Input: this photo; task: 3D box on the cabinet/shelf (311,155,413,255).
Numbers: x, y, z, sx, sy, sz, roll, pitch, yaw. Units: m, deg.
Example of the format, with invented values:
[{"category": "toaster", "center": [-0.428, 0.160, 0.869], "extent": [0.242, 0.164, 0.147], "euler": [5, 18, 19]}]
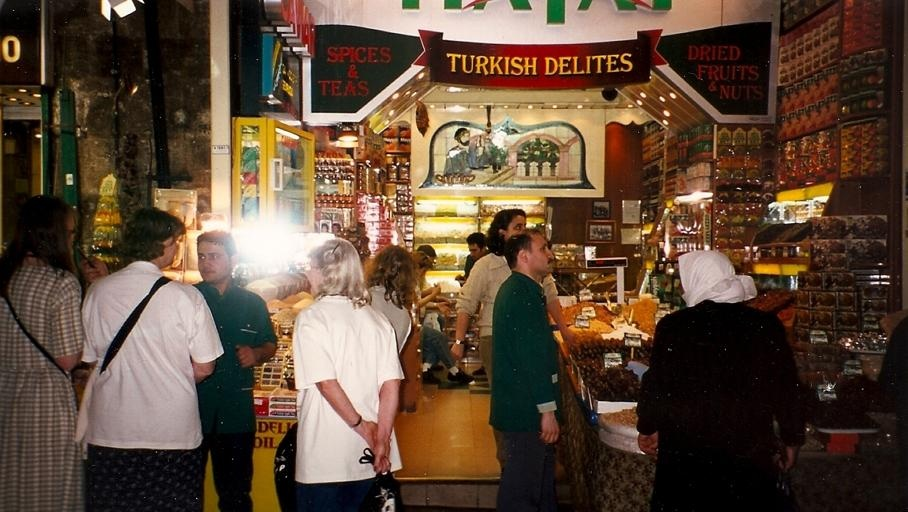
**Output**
[{"category": "cabinet/shelf", "center": [-1.282, -0.666, 10.172], "extent": [0.615, 1.529, 1.672], "euler": [-2, -6, 29]}]

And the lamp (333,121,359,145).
[{"category": "lamp", "center": [-1.397, -1.604, 9.835], "extent": [0.279, 0.164, 0.276], "euler": [-1, 1, 20]}]

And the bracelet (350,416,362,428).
[{"category": "bracelet", "center": [-0.770, 1.314, 5.913], "extent": [0.075, 0.021, 0.079], "euler": [-48, 18, -29]}]

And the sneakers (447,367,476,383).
[{"category": "sneakers", "center": [0.080, 1.655, 10.395], "extent": [0.355, 0.161, 0.173], "euler": [3, 3, -2]}]

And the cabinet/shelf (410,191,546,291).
[{"category": "cabinet/shelf", "center": [0.187, -0.224, 10.779], "extent": [1.928, 1.708, 0.613], "euler": [0, 1, 2]}]

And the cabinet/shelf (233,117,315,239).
[{"category": "cabinet/shelf", "center": [-2.040, -0.837, 8.290], "extent": [0.592, 1.340, 1.492], "euler": [1, 1, 11]}]

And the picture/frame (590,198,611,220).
[{"category": "picture/frame", "center": [2.778, -0.908, 14.384], "extent": [0.431, 0.409, 0.032], "euler": [1, 10, -7]}]

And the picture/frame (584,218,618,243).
[{"category": "picture/frame", "center": [2.784, -0.497, 14.424], "extent": [0.518, 0.363, 0.042], "euler": [0, 0, -10]}]
